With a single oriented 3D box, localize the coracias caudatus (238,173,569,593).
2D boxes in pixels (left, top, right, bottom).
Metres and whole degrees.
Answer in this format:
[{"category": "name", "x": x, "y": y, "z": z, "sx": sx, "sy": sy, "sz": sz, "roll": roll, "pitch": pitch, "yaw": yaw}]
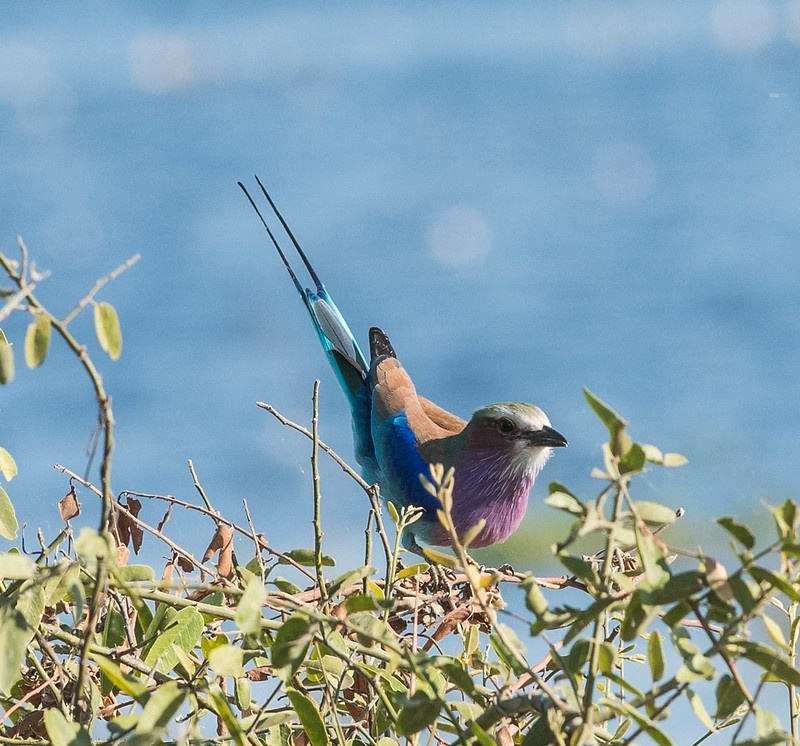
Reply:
[{"category": "coracias caudatus", "x": -0.005, "y": 0.097, "z": 5.140, "sx": 1.337, "sy": 1.060, "sz": 0.401, "roll": 14, "pitch": 5, "yaw": 35}]
